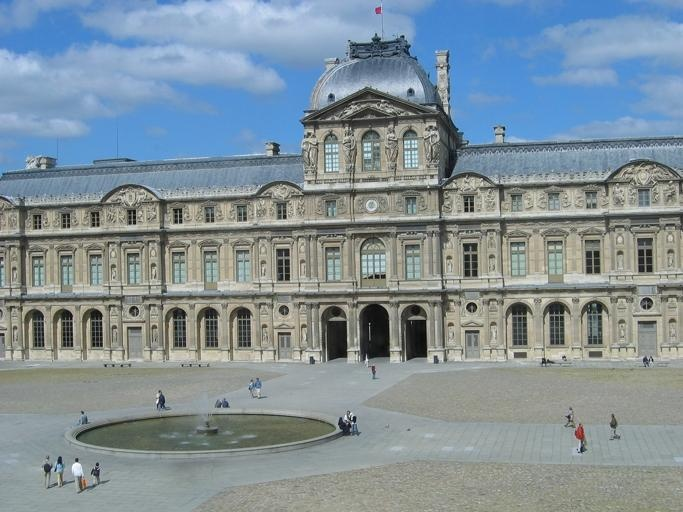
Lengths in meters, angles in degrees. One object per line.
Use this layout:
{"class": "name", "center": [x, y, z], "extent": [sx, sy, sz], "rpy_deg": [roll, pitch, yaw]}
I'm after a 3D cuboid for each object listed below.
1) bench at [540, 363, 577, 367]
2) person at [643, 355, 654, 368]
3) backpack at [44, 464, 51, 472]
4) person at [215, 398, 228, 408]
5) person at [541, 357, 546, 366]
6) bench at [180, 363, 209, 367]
{"class": "bench", "center": [22.364, 11.160, 121.793], "extent": [3.182, 0.499, 3.946], "rpy_deg": [-2, -5, 11]}
{"class": "person", "center": [31.030, 10.669, 120.040], "extent": [0.993, 1.147, 1.131], "rpy_deg": [1, 1, 7]}
{"class": "backpack", "center": [-20.498, 14.622, 82.139], "extent": [0.449, 0.650, 0.446], "rpy_deg": [0, -6, -17]}
{"class": "person", "center": [-10.330, 12.526, 101.251], "extent": [0.744, 1.329, 0.473], "rpy_deg": [3, 7, 8]}
{"class": "person", "center": [20.826, 10.878, 122.381], "extent": [0.671, 1.016, 0.621], "rpy_deg": [-2, -12, 11]}
{"class": "bench", "center": [-16.148, 11.889, 129.681], "extent": [3.186, 0.524, 4.028], "rpy_deg": [-1, -5, -8]}
